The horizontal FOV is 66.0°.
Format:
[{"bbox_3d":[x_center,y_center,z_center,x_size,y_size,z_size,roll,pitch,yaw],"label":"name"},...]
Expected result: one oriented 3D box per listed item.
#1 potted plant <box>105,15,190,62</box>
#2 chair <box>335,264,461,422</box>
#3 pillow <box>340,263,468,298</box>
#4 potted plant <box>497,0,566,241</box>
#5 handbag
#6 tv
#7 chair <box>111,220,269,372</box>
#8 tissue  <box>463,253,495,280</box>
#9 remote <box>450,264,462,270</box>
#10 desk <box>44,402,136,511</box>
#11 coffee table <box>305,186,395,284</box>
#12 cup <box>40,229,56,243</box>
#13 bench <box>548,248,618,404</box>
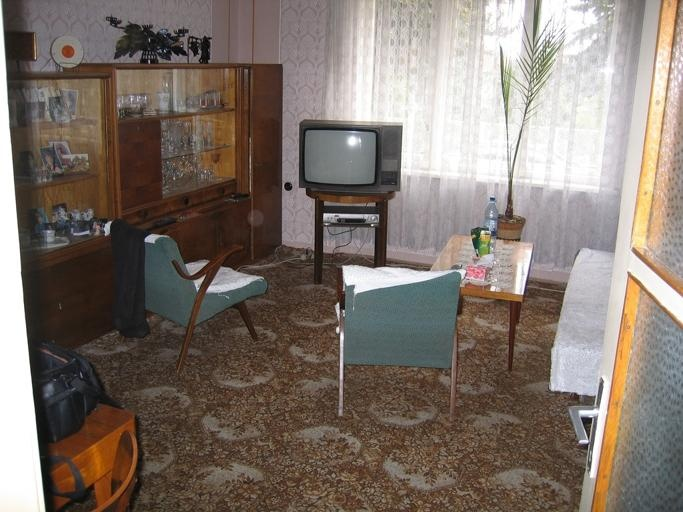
[{"bbox_3d":[-1.610,-1.804,4.450,0.470,0.366,0.869,10,18,22],"label":"potted plant"},{"bbox_3d":[0.321,0.436,2.905,0.526,0.720,0.717,0,24,2],"label":"chair"},{"bbox_3d":[0.320,0.115,2.997,0.633,0.183,0.216,5,17,4],"label":"pillow"},{"bbox_3d":[1.702,-1.276,5.065,0.582,2.252,0.624,11,18,25],"label":"potted plant"},{"bbox_3d":[-1.032,0.520,1.954,0.271,0.276,0.211,-8,6,-22],"label":"handbag"},{"bbox_3d":[0.080,-0.982,5.130,0.967,0.694,0.582,2,23,0],"label":"tv"},{"bbox_3d":[-1.105,0.161,3.889,0.780,0.937,0.966,16,19,42],"label":"chair"},{"bbox_3d":[0.989,0.082,3.763,0.178,0.085,0.306,1,27,16],"label":"tissue "},{"bbox_3d":[0.811,0.075,3.697,0.051,0.026,0.074,1,9,15],"label":"remote"},{"bbox_3d":[-0.863,0.677,1.803,0.208,0.376,0.388,-1,27,-11],"label":"desk"},{"bbox_3d":[0.025,-0.295,5.514,0.865,1.007,0.877,-2,20,-7],"label":"coffee table"},{"bbox_3d":[-2.009,-0.136,3.610,0.062,0.063,0.081,2,4,2],"label":"cup"},{"bbox_3d":[1.425,0.414,3.125,0.275,0.222,1.042,8,39,24],"label":"bench"}]
